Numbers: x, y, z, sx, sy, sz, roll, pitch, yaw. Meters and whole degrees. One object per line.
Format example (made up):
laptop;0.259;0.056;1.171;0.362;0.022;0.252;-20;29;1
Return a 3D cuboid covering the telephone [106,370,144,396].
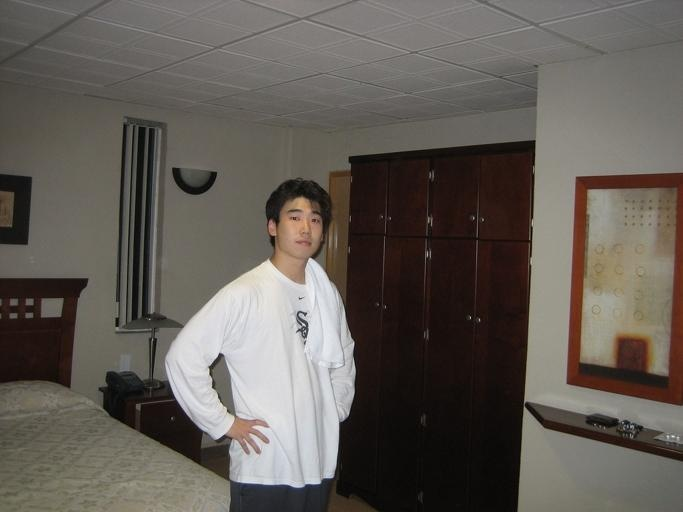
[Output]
telephone;-1.834;1.058;4.313;0.184;0.106;0.243;2;8;-36

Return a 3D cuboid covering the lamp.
lamp;-1.633;0.838;4.398;0.501;0.647;0.512;1;-5;-15
